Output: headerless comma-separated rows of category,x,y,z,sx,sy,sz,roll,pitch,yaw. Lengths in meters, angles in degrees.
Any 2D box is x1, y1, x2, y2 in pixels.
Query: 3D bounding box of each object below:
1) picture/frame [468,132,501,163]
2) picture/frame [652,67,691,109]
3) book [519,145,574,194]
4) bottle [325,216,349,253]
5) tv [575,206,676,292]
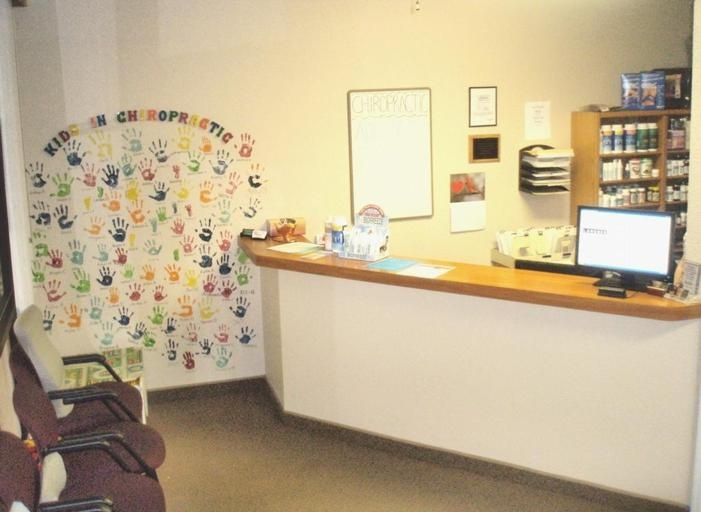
picture/frame,1.285,-1.071,5.587,0.293,0.247,0.022,-5,12,-13
picture/frame,3.351,-1.781,6.003,0.207,0.349,0.337,-20,21,-25
book,1.915,-0.872,5.706,0.461,0.447,0.263,-3,11,-17
bottle,-0.109,-0.160,4.426,0.190,0.349,0.198,1,14,0
tv,1.755,-0.063,3.657,0.193,0.509,0.642,-6,10,-30
